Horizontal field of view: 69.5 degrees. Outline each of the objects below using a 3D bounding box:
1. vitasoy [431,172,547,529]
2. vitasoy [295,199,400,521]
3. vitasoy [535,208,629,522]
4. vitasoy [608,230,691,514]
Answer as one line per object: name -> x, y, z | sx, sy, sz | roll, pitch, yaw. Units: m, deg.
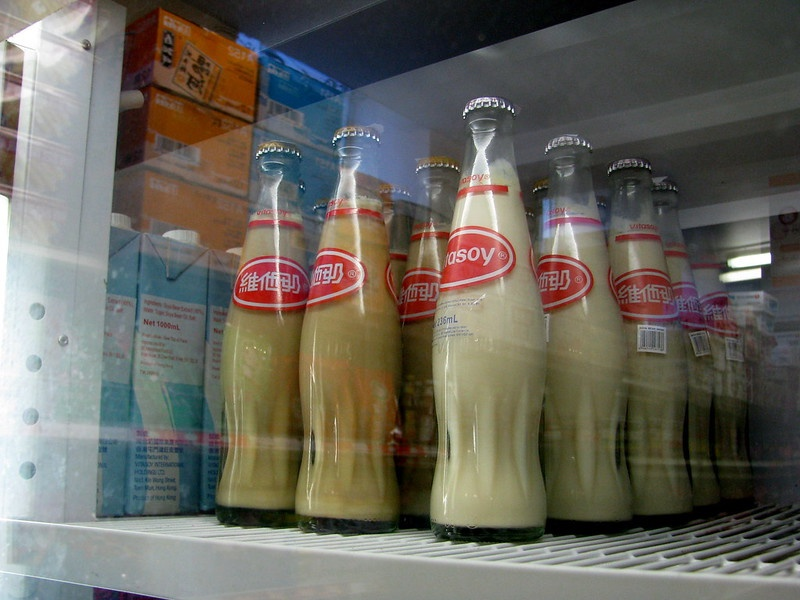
vitasoy -> 0.119, 0.026, 0.764 | 0.144, 0.529, 0.153 | -4, -10, 33
vitasoy -> -0.061, 0.084, 0.861 | 0.114, 0.444, 0.118 | -5, -16, 23
vitasoy -> 0.258, 0.054, 0.787 | 0.149, 0.487, 0.137 | 1, 0, -9
vitasoy -> 0.336, 0.065, 0.820 | 0.127, 0.476, 0.136 | 2, -8, 6
